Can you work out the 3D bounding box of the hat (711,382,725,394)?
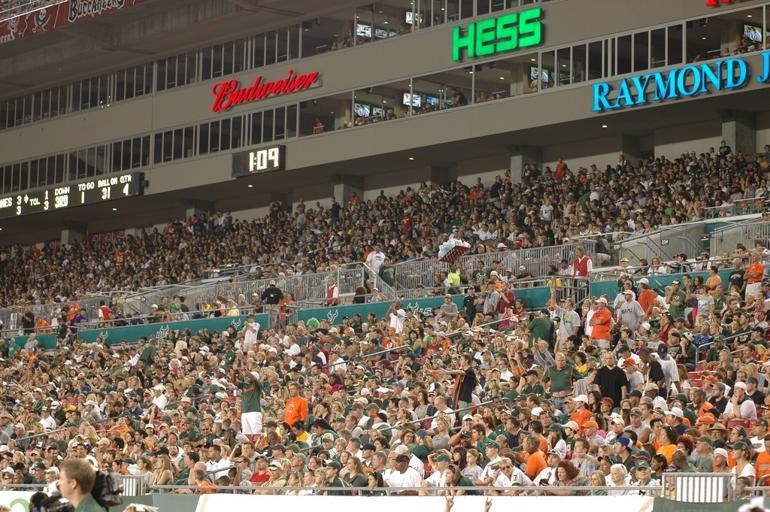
[{"bbox_3d":[9.818,3.856,60.307,0.269,0.284,0.326,-4,39,-28],"label":"hat"}]
